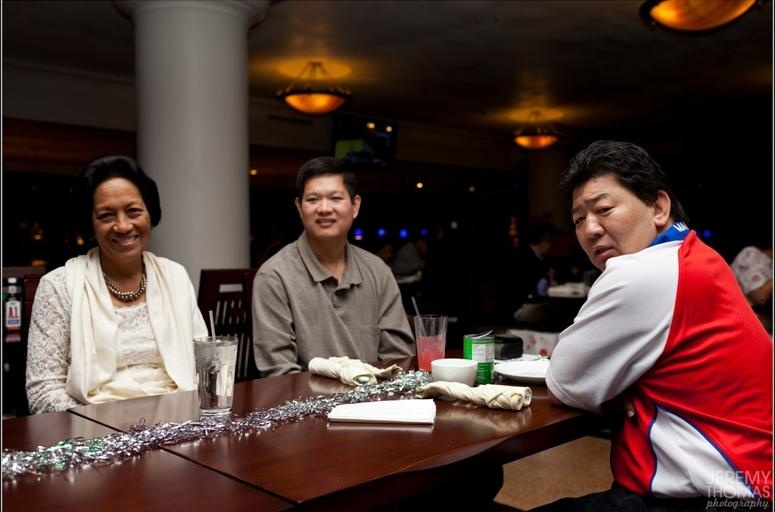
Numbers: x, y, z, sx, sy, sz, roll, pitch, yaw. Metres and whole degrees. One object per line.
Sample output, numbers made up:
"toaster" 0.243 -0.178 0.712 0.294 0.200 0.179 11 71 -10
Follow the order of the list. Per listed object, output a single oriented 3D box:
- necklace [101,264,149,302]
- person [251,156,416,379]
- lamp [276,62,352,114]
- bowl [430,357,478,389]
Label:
"necklace" -1.018 0.108 2.181 0.109 0.126 0.056 -5 -39 -34
"person" -0.253 0.020 2.406 0.722 0.886 0.551 -5 12 -27
"lamp" -0.679 -1.729 5.655 0.808 0.444 0.789 -15 26 -42
"bowl" 0.208 0.358 1.698 0.103 0.060 0.091 3 -12 5
